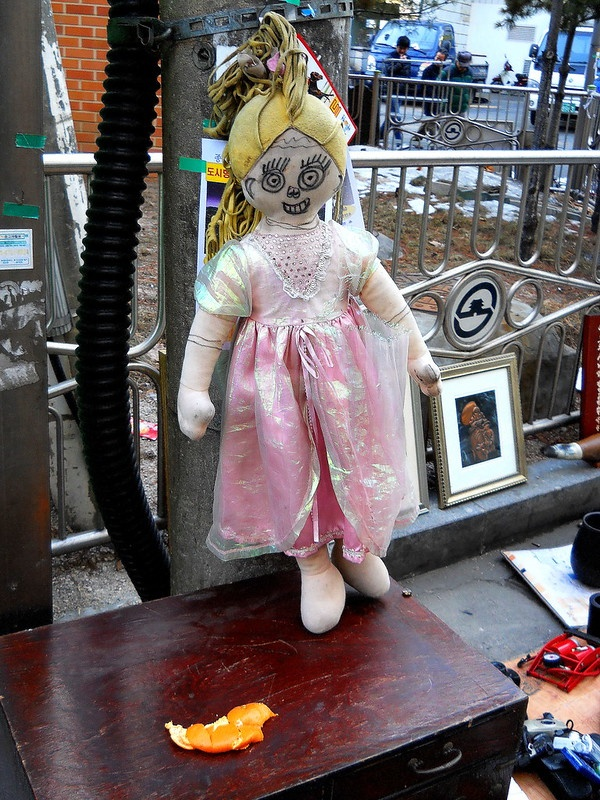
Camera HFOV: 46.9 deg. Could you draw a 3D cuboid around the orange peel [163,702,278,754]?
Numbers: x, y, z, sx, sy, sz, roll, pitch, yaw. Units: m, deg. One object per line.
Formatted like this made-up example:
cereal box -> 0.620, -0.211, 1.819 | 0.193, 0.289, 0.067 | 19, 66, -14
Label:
orange peel -> -0.127, 0.531, 1.124 | 0.110, 0.027, 0.065 | 1, 9, -10
